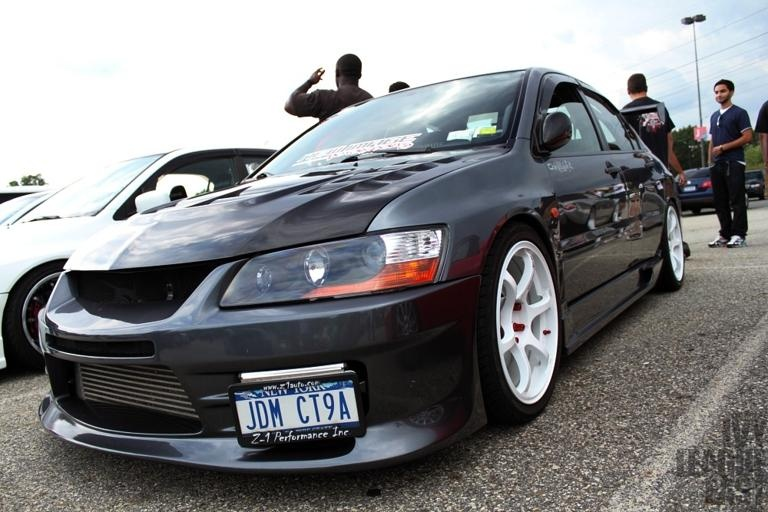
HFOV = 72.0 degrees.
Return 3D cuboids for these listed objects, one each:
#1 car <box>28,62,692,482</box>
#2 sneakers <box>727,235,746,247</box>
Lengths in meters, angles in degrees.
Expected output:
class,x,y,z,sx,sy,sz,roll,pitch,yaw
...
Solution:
class,x,y,z,sx,sy,sz,roll,pitch,yaw
car,0.412,-0.426,4.117,2.782,1.309,5.152,0,11,35
sneakers,4.667,-0.192,6.886,0.320,0.111,0.110,-16,3,-38
